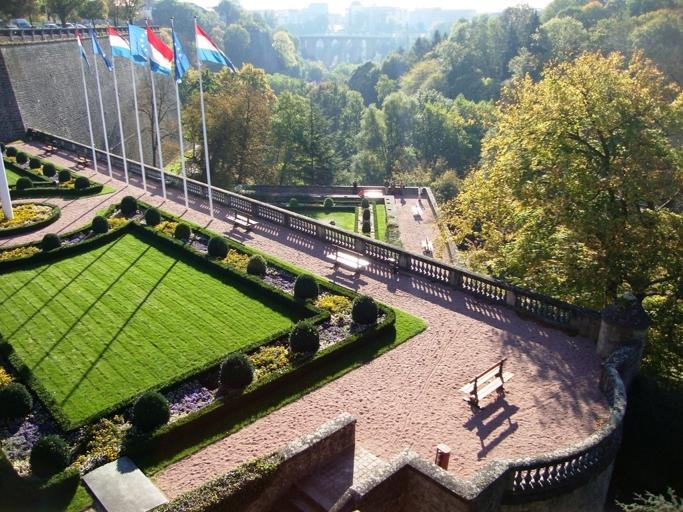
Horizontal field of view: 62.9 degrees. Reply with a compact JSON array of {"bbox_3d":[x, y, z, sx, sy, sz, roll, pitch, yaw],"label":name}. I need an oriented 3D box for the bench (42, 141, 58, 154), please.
[{"bbox_3d":[-24.433,-9.103,47.062,1.196,0.823,0.547,24,11,32],"label":"bench"}]

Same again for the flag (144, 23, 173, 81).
[{"bbox_3d":[-11.219,-12.577,34.641,1.389,3.334,5.066,-6,27,-16],"label":"flag"}]

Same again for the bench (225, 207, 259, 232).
[{"bbox_3d":[-6.164,-2.199,34.709,2.311,0.594,1.397,20,32,33],"label":"bench"}]

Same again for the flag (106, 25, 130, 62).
[{"bbox_3d":[-14.405,-13.880,36.366,1.130,1.986,4.509,-8,28,-20],"label":"flag"}]
